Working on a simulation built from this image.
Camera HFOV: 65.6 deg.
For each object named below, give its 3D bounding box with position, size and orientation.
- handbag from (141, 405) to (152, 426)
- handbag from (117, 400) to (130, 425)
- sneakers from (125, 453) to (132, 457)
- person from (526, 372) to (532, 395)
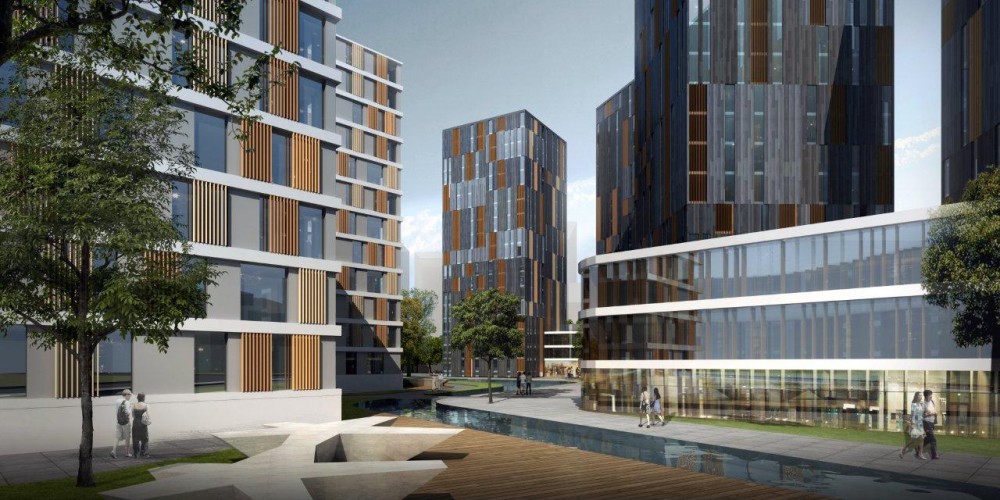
[{"bbox_3d":[-21.796,10.201,47.752,0.388,1.153,0.797,2,-15,-21],"label":"handbag"},{"bbox_3d":[-23.033,9.970,47.621,0.681,1.452,0.599,3,-15,-23],"label":"handbag"},{"bbox_3d":[-23.106,12.770,48.446,0.276,0.174,0.267,-3,-7,15],"label":"sneakers"},{"bbox_3d":[3.012,14.466,84.256,0.592,2.229,1.258,-2,-14,-7],"label":"person"}]
